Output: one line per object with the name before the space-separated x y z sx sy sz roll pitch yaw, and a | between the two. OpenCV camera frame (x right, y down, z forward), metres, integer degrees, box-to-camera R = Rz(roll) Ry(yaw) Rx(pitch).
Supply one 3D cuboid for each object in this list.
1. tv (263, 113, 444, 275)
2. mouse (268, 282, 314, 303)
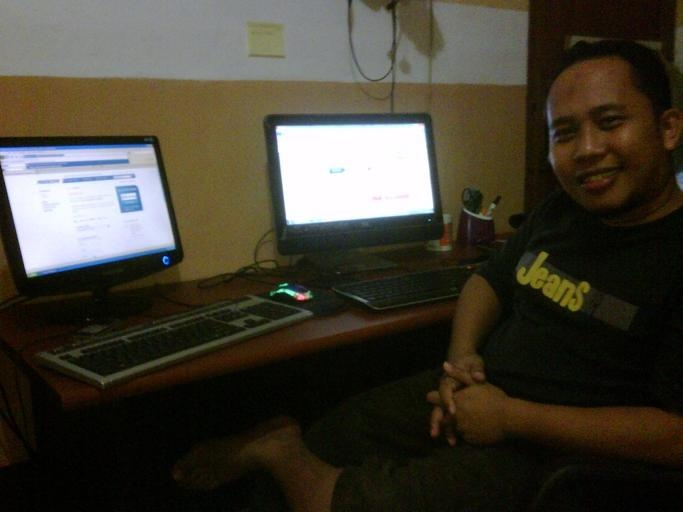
tv | 0.023 -0.218 1.946 0.537 0.410 0.154 -7 10 -25
mouse | -0.128 0.102 1.645 0.083 0.027 0.062 14 9 23
